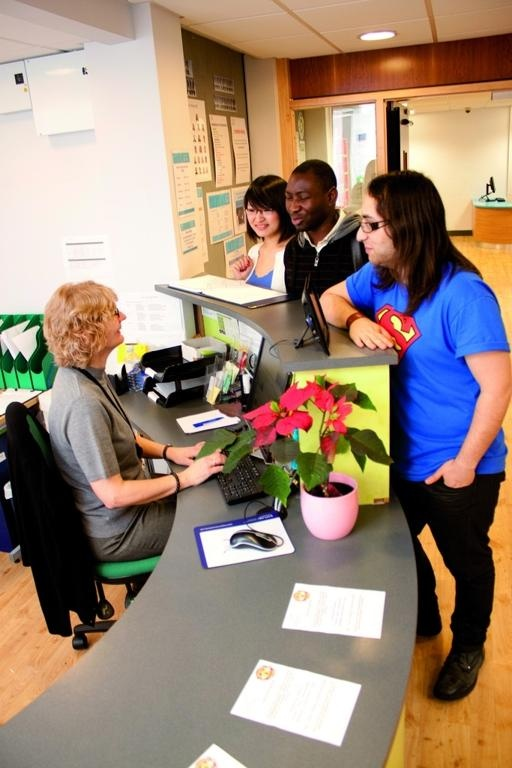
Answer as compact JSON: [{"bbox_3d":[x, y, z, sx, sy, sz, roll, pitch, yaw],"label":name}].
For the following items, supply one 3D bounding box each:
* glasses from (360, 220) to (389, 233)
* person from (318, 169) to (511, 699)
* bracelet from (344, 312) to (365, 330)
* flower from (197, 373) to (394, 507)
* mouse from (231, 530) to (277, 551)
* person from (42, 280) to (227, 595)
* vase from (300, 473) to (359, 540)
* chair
[{"bbox_3d":[0.290,-0.397,1.424,0.019,0.032,0.102,-14,18,-17],"label":"glasses"},{"bbox_3d":[0.500,0.236,1.652,0.378,1.633,0.604,-14,17,-16],"label":"person"},{"bbox_3d":[0.279,-0.188,1.651,0.053,0.038,0.053,-41,3,-8],"label":"bracelet"},{"bbox_3d":[0.102,0.120,1.355,0.350,0.174,0.385,-22,31,-28],"label":"flower"},{"bbox_3d":[-0.010,0.371,1.363,0.087,0.029,0.052,-1,13,9],"label":"mouse"},{"bbox_3d":[-0.395,0.217,1.999,0.634,1.122,0.535,-9,13,-30],"label":"person"},{"bbox_3d":[0.163,0.315,1.412,0.159,0.128,0.158,3,-11,-6],"label":"vase"},{"bbox_3d":[-0.591,0.514,1.892,0.372,1.006,0.362,-18,19,-28],"label":"chair"}]
